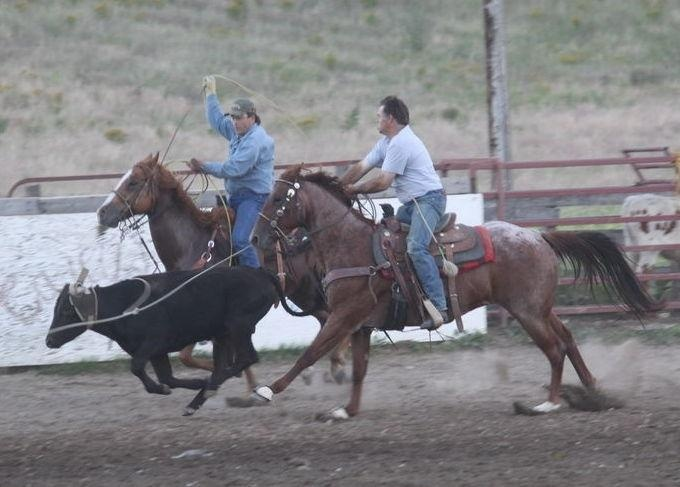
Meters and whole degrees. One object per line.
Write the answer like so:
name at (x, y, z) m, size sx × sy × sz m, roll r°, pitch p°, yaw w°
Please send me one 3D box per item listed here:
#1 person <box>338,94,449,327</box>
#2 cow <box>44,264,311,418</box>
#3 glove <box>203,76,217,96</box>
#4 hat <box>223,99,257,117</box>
person at (0.796, -0.374, 12.739) m, size 1.162 × 2.904 × 1.045 m, roll -9°, pitch 9°, yaw -17°
cow at (-1.950, 1.252, 12.511) m, size 3.561 × 1.675 × 0.843 m, roll -5°, pitch -14°, yaw 21°
glove at (-1.719, -2.090, 13.595) m, size 0.225 × 0.257 × 0.111 m, roll -1°, pitch 35°, yaw -11°
hat at (-1.292, -1.746, 13.245) m, size 0.355 × 0.138 × 0.231 m, roll 6°, pitch 14°, yaw 19°
